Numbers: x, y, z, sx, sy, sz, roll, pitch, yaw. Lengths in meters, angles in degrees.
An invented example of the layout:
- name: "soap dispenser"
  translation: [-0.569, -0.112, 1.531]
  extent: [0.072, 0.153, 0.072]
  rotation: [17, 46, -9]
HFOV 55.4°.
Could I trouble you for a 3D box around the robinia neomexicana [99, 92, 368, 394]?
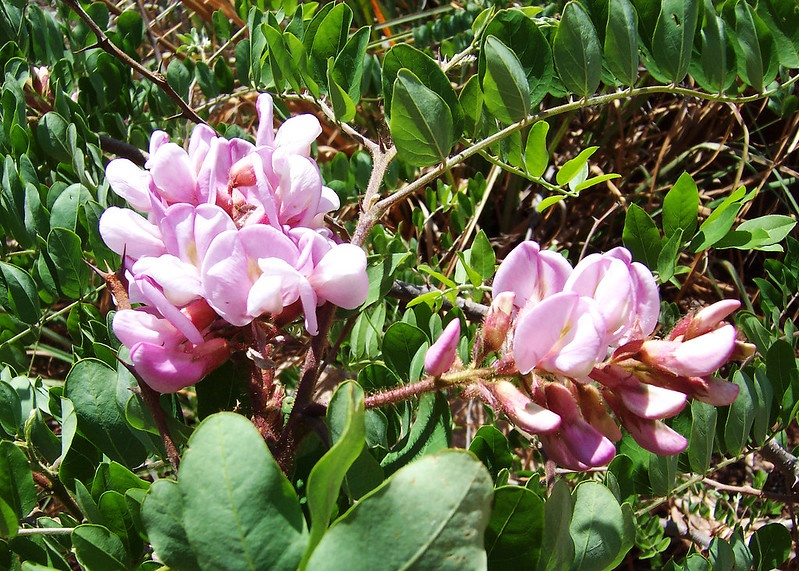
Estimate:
- name: "robinia neomexicana"
  translation: [-0.341, -0.102, 1.678]
  extent: [0.525, 0.405, 0.620]
  rotation: [7, 45, 21]
